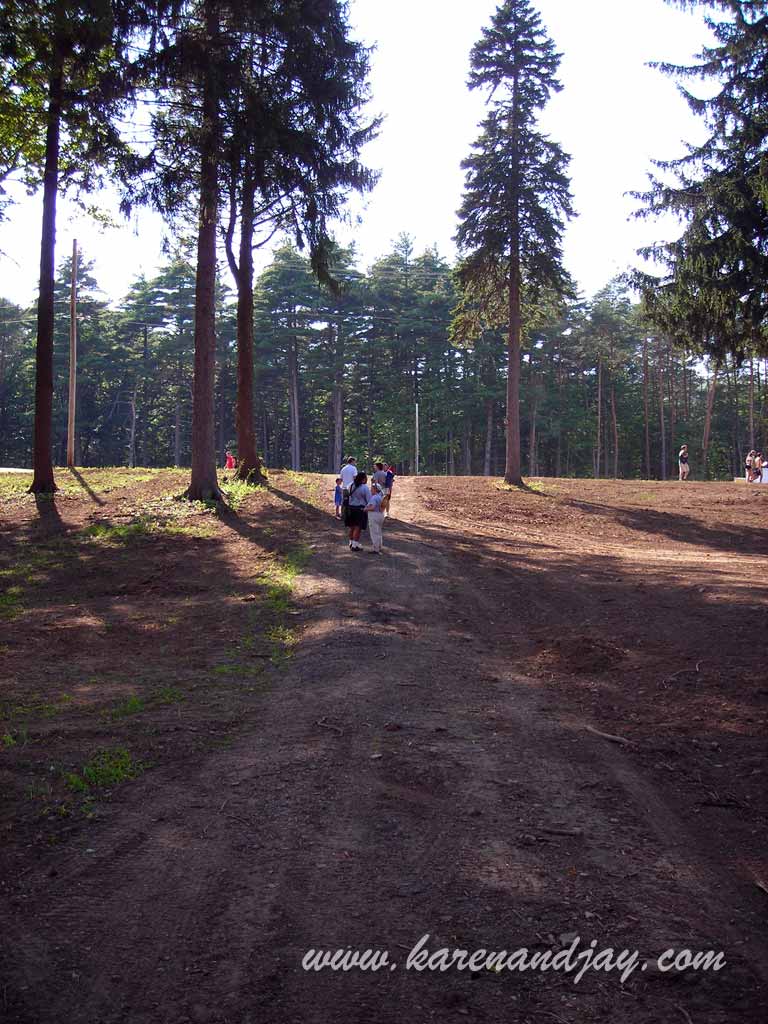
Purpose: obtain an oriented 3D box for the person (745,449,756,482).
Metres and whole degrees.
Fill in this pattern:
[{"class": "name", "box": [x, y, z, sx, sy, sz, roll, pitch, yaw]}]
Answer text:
[{"class": "person", "box": [13.715, -1.722, 33.681, 0.339, 1.066, 0.953, 4, 8, 27]}]
